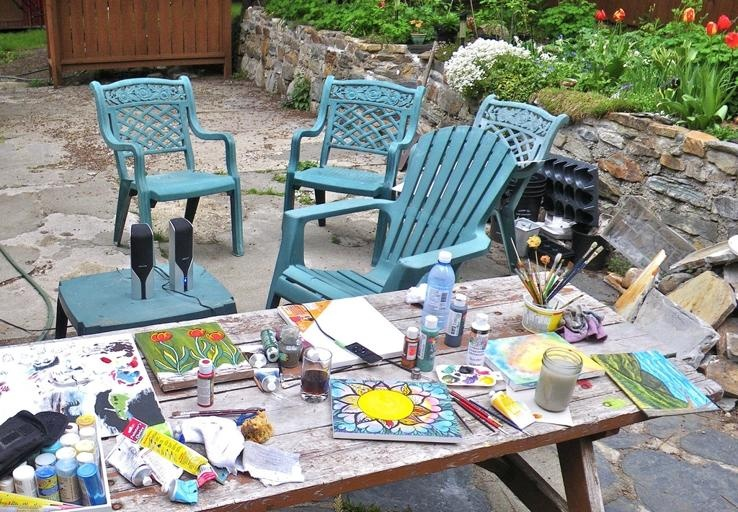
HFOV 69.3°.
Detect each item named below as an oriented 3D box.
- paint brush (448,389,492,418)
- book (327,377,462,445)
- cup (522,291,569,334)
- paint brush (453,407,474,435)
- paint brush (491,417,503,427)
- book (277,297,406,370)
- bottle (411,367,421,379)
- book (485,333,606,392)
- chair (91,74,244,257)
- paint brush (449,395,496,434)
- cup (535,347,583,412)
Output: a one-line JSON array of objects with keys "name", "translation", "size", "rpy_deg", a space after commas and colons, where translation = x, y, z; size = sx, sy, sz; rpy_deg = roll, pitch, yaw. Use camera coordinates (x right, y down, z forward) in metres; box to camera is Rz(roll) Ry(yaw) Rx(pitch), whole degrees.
[{"name": "paint brush", "translation": [0.307, 0.454, 1.708], "size": [0.040, 0.015, 0.192], "rpy_deg": [-11, 21, -35]}, {"name": "book", "translation": [0.076, 0.467, 1.643], "size": [0.403, 0.047, 0.234], "rpy_deg": [7, 33, -4]}, {"name": "cup", "translation": [0.674, 0.202, 2.058], "size": [0.137, 0.093, 0.136], "rpy_deg": [6, 26, -3]}, {"name": "paint brush", "translation": [0.284, 0.505, 1.636], "size": [0.022, 0.015, 0.120], "rpy_deg": [-4, 34, -21]}, {"name": "paint brush", "translation": [0.388, 0.508, 1.630], "size": [0.013, 0.017, 0.045], "rpy_deg": [-8, 29, -17]}, {"name": "book", "translation": [-0.085, 0.278, 1.981], "size": [0.274, 0.022, 0.288], "rpy_deg": [-8, 28, -24]}, {"name": "bottle", "translation": [0.151, 0.391, 1.800], "size": [0.033, 0.031, 0.031], "rpy_deg": [-4, 19, -11]}, {"name": "book", "translation": [0.525, 0.356, 1.855], "size": [0.236, 0.030, 0.205], "rpy_deg": [-9, 21, -18]}, {"name": "chair", "translation": [-1.465, -0.633, 3.904], "size": [0.877, 1.135, 1.203], "rpy_deg": [-10, 39, -27]}, {"name": "paint brush", "translation": [0.316, 0.492, 1.650], "size": [0.127, 0.017, 0.013], "rpy_deg": [39, 31, 17]}, {"name": "cup", "translation": [0.598, 0.397, 1.688], "size": [0.146, 0.201, 0.137], "rpy_deg": [3, 34, -2]}]
